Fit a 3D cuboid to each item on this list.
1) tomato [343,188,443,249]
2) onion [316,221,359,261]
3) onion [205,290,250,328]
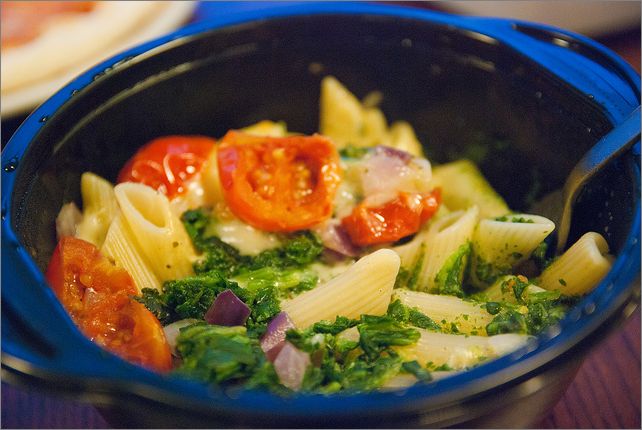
[{"bbox_3d":[0.238,-0.005,2.284,0.215,0.184,0.321,13,23,41],"label":"tomato"},{"bbox_3d":[0.053,0.081,2.321,0.120,0.210,0.108,-11,106,-4],"label":"onion"},{"bbox_3d":[-0.287,0.293,2.019,0.111,0.030,0.115,37,86,4],"label":"onion"}]
